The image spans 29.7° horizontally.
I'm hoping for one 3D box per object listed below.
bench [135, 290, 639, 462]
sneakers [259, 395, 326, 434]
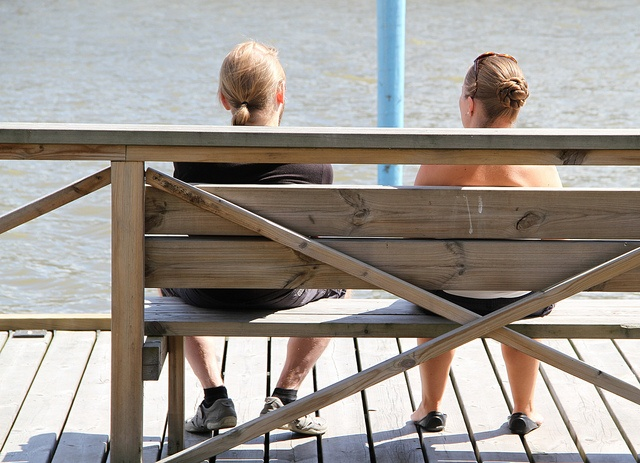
[{"bbox_3d":[0.501,1.018,9.161,3.620,1.076,0.569,1,38,-1],"label":"bench"},{"bbox_3d":[-0.131,1.419,9.254,0.749,0.252,0.177,6,51,-12],"label":"sneakers"}]
